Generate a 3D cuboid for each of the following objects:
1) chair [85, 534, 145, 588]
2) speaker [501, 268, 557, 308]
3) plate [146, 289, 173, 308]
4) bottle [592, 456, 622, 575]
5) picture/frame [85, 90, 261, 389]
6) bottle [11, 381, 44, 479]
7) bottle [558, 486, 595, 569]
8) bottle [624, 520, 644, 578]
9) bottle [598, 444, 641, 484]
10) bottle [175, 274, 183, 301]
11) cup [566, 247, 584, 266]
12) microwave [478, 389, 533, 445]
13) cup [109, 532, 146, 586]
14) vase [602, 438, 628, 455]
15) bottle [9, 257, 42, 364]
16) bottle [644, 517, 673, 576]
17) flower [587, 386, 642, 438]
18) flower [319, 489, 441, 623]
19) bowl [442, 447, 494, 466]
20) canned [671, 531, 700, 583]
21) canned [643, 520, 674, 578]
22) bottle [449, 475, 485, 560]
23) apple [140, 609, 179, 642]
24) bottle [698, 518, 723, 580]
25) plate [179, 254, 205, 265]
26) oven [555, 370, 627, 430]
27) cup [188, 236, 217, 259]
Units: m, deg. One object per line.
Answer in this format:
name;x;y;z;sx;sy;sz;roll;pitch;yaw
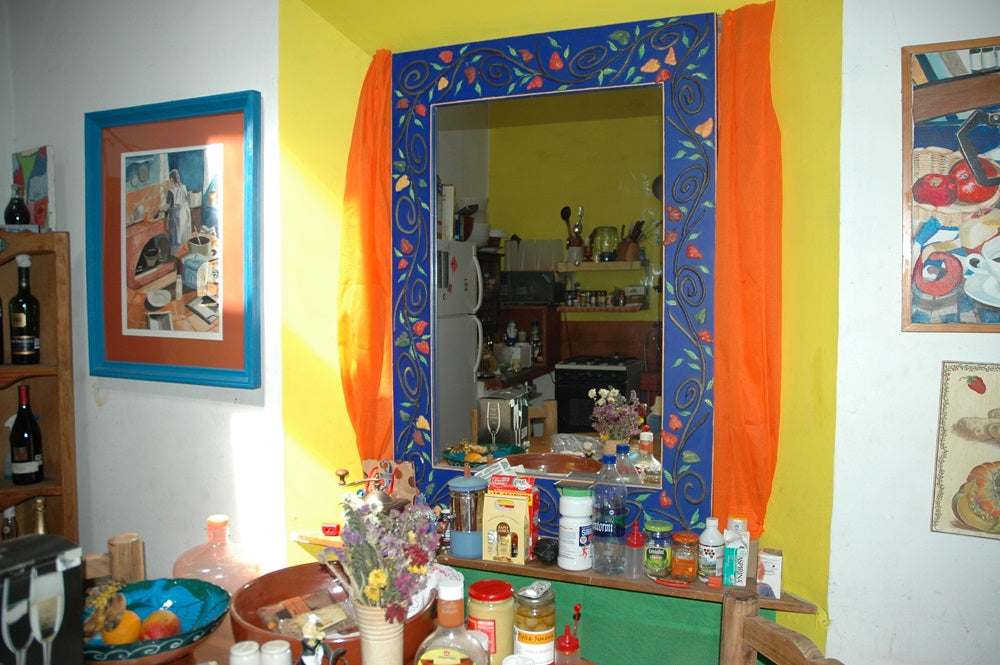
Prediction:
chair;-1.243;0.741;2.678;0.155;0.157;0.141;1;3;23
speaker;0.117;-0.198;3.563;0.226;0.157;0.146;0;3;13
plate;-1.558;-0.156;3.736;0.099;0.093;0.027;3;9;20
bottle;0.410;0.676;3.099;0.111;0.411;0.196;0;1;10
picture/frame;-1.500;-0.403;3.712;0.966;1.057;0.084;0;0;21
bottle;-2.168;0.504;3.765;0.170;0.385;0.145;0;1;39
bottle;0.277;0.722;3.025;0.128;0.312;0.077;-1;0;4
bottle;0.500;0.799;3.070;0.069;0.189;0.178;0;1;8
bottle;0.477;0.527;3.207;0.105;0.157;0.107;3;-18;1
bottle;-1.449;-0.205;3.697;0.043;0.083;0.009;0;0;28
cup;0.317;-0.328;3.508;0.067;0.066;0.068;3;10;-1
microwave;0.019;0.357;3.409;0.188;0.263;0.196;-7;21;-14
cup;-1.217;0.734;2.705;0.091;0.157;0.094;1;7;0
vase;0.443;0.440;3.194;0.064;0.054;0.065;1;3;14
bottle;-2.159;-0.102;3.727;0.126;0.453;0.212;-1;1;-31
bottle;0.584;0.805;3.044;0.115;0.180;0.116;1;-3;0
flower;0.448;0.331;3.237;0.209;0.239;0.181;-1;-10;-2
flower;-0.352;0.665;2.399;0.330;0.349;0.172;-1;1;-5
bowl;-0.136;0.502;3.344;0.125;0.039;0.089;1;1;13
canned;0.680;0.824;3.014;0.107;0.166;0.111;0;5;-8
canned;0.582;0.807;3.044;0.119;0.185;0.120;3;-2;-42
bottle;-0.128;0.698;3.106;0.164;0.306;0.119;0;1;13
apple;-1.025;0.880;2.489;0.088;0.088;0.083;8;-2;39
bottle;0.766;0.784;2.977;0.093;0.223;0.050;0;0;9
plate;-1.370;-0.332;3.662;0.075;0.069;0.054;3;8;4
oven;0.369;0.237;3.404;0.335;0.341;0.221;1;-2;17
cup;-1.322;-0.384;3.647;0.126;0.091;0.081;5;30;1
